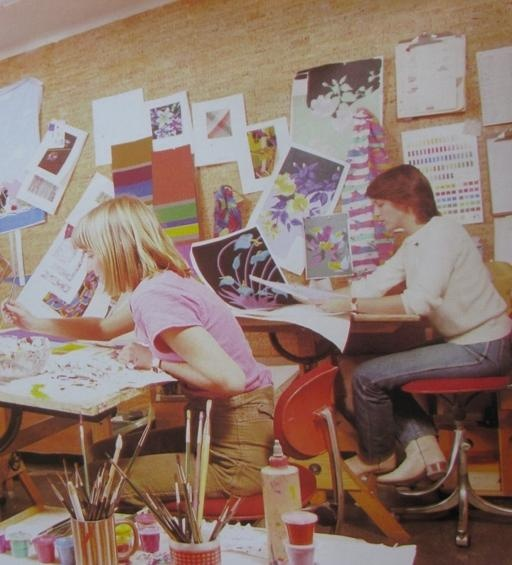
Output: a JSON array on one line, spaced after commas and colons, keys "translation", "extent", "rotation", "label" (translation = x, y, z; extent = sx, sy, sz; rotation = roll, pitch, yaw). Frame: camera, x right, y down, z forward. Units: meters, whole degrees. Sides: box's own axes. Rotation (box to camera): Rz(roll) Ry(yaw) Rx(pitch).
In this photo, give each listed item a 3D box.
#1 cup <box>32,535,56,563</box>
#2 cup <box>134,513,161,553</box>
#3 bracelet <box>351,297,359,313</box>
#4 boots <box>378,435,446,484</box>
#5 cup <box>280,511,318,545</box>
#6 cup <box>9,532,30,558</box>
[{"translation": [-0.536, 0.676, 1.750], "extent": [0.067, 0.049, 0.062], "rotation": [1, 9, 0], "label": "cup"}, {"translation": [-0.283, 0.651, 1.809], "extent": [0.097, 0.086, 0.085], "rotation": [-4, -12, -15], "label": "cup"}, {"translation": [0.310, 0.073, 2.166], "extent": [0.029, 0.038, 0.042], "rotation": [-3, -4, -3], "label": "bracelet"}, {"translation": [0.446, 0.522, 2.080], "extent": [0.231, 0.142, 0.079], "rotation": [-14, 18, -4], "label": "boots"}, {"translation": [0.104, 0.546, 1.562], "extent": [0.073, 0.045, 0.074], "rotation": [-1, 0, 0], "label": "cup"}, {"translation": [-0.611, 0.676, 1.785], "extent": [0.062, 0.050, 0.057], "rotation": [0, 3, 0], "label": "cup"}]
